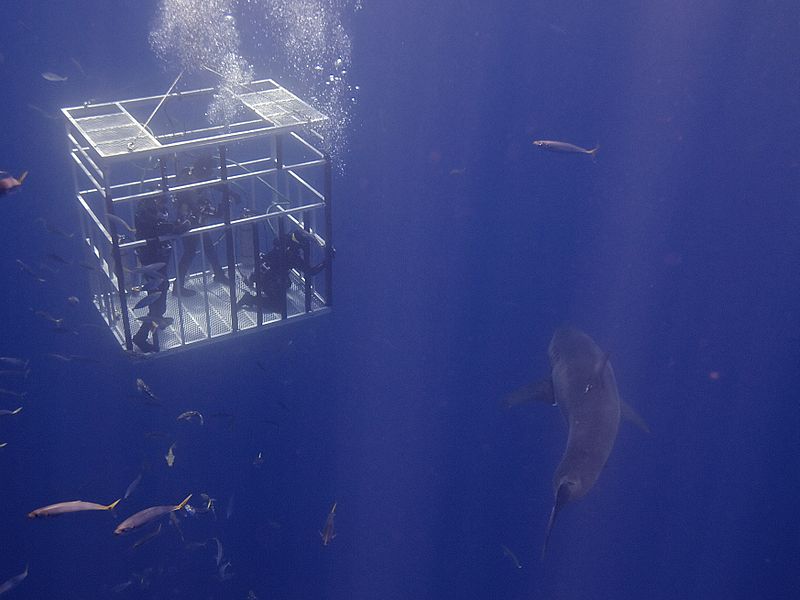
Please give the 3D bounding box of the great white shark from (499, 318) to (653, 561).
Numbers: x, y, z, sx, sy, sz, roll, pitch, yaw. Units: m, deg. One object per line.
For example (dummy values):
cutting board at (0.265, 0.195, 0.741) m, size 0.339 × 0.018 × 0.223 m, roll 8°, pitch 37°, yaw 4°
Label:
great white shark at (1.685, 1.153, 8.906) m, size 1.222 × 1.054 × 2.727 m, roll 9°, pitch 33°, yaw 7°

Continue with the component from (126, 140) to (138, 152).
component at (-2.752, -1.585, 9.648) m, size 0.101 × 0.137 × 0.265 m, roll 3°, pitch -1°, yaw -18°

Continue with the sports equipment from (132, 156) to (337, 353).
sports equipment at (-1.965, -0.480, 10.469) m, size 1.940 × 1.778 × 1.070 m, roll 3°, pitch -1°, yaw -18°

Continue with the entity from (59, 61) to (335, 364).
entity at (-2.077, -1.115, 10.503) m, size 2.463 × 2.798 × 1.778 m, roll -16°, pitch 40°, yaw -24°
